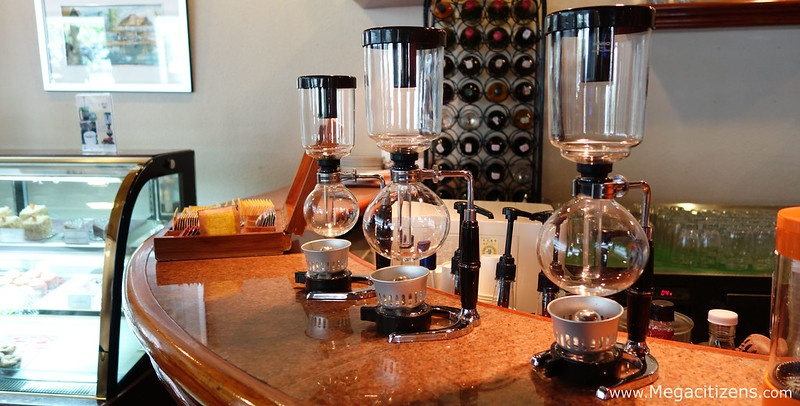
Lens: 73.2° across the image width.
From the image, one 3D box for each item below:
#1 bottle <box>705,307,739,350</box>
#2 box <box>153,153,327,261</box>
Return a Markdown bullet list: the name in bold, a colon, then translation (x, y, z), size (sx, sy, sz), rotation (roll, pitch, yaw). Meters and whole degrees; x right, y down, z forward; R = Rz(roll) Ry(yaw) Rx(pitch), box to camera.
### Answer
- **bottle**: translation (1.633, 0.661, 2.727), size (0.119, 0.186, 0.275), rotation (1, 13, 30)
- **box**: translation (-1.052, -0.033, 3.635), size (1.351, 0.515, 1.237), rotation (1, 12, 21)
